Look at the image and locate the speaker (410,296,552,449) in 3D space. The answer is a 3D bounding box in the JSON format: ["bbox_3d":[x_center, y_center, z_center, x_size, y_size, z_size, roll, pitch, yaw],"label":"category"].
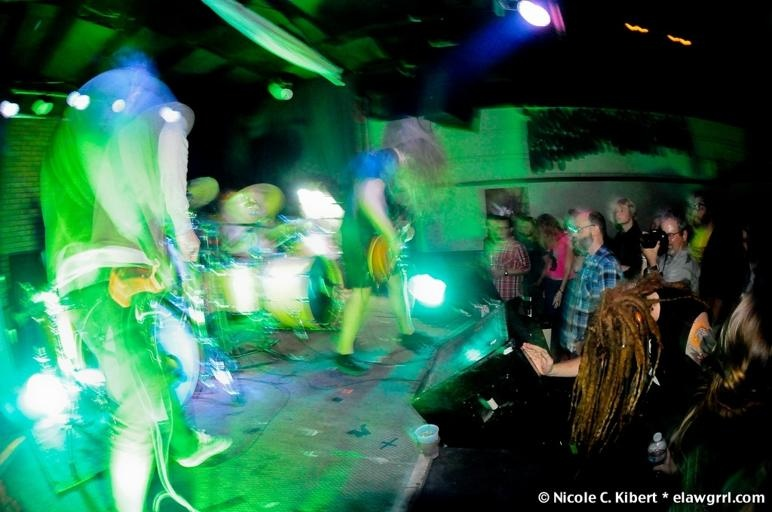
[{"bbox_3d":[0.740,1.062,3.928,0.912,0.938,1.331,-18,26,28],"label":"speaker"}]

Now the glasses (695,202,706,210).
[{"bbox_3d":[3.341,-0.537,5.083,0.092,0.084,0.023,38,17,6],"label":"glasses"}]

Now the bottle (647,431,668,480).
[{"bbox_3d":[1.653,1.200,2.912,0.137,0.245,0.067,3,7,18],"label":"bottle"}]

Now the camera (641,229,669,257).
[{"bbox_3d":[2.575,-0.132,4.576,0.233,0.215,0.238,-16,9,-15],"label":"camera"}]

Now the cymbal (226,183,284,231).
[{"bbox_3d":[-1.663,-0.651,5.990,0.445,0.403,0.814,26,37,32],"label":"cymbal"}]

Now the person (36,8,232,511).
[{"bbox_3d":[-1.699,0.149,3.044,0.783,2.664,0.966,5,17,21],"label":"person"}]
